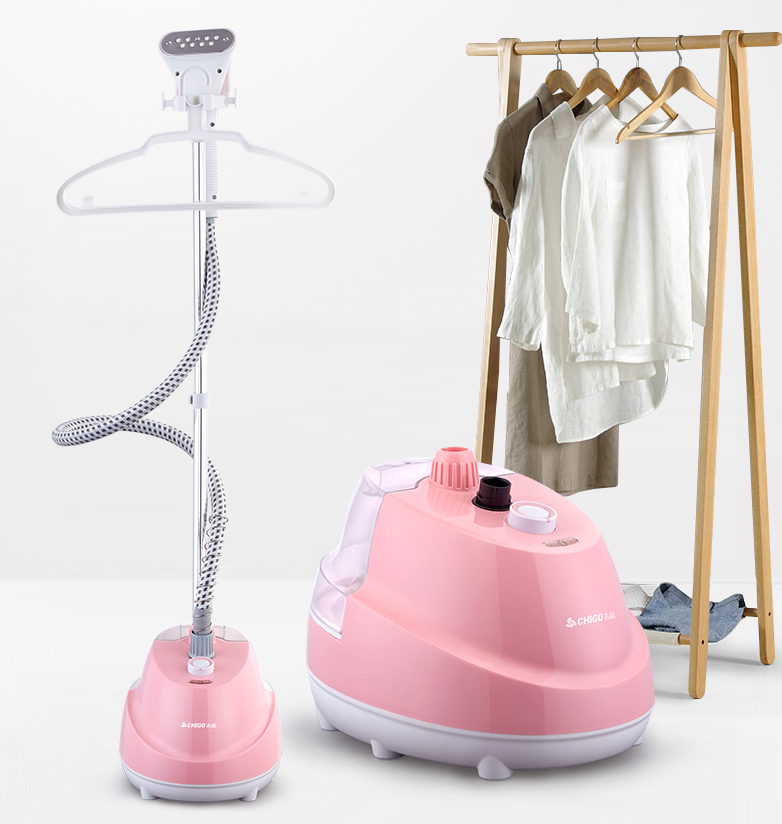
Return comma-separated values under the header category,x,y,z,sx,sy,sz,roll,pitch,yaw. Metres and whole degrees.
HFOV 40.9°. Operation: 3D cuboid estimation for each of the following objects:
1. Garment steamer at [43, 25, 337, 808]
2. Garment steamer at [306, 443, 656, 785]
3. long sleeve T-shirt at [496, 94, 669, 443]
category,x,y,z,sx,sy,sz,roll,pitch,yaw
Garment steamer,-0.293,0.012,1.556,0.398,1.120,0.322,-1,9,-15
Garment steamer,0.216,0.307,1.778,0.570,0.420,0.679,-10,6,-27
long sleeve T-shirt,0.394,-0.270,2.087,0.398,0.650,0.114,-4,10,-33
